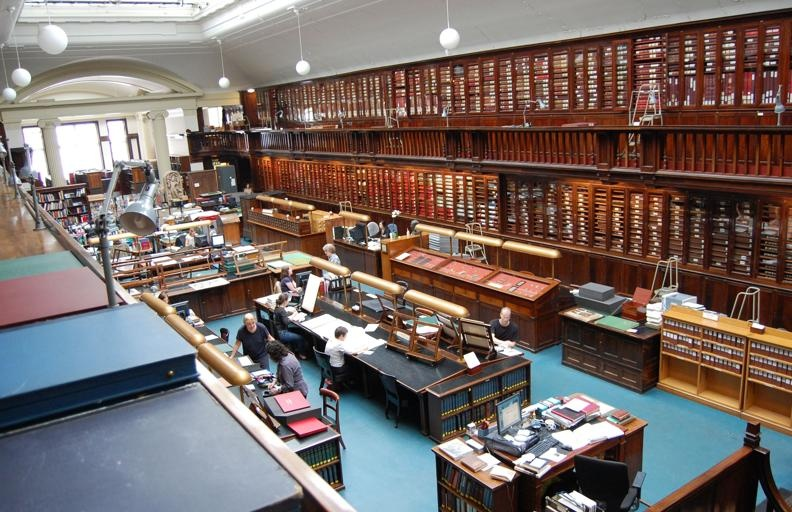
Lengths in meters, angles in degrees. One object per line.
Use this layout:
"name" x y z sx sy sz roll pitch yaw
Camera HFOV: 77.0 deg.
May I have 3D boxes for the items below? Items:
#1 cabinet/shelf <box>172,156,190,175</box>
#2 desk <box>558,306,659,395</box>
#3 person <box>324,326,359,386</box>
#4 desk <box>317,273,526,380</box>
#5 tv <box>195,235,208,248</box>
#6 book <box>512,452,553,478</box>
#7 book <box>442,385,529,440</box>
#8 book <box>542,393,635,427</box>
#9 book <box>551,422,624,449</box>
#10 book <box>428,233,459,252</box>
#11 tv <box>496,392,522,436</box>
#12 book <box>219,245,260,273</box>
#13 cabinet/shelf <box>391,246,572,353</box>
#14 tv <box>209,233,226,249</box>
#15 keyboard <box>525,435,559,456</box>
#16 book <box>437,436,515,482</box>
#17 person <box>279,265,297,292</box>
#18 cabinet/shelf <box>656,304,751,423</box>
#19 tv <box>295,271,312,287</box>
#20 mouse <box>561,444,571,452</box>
"cabinet/shelf" -10.316 -4.362 24.017 1.229 1.032 0.469 6 10 43
"desk" 4.123 1.737 9.425 0.984 1.077 1.725 -10 13 -27
"person" -0.952 1.856 9.155 0.668 1.167 0.476 -10 15 -27
"desk" 0.095 1.276 9.276 2.241 1.363 3.613 -4 13 -34
"tv" -5.611 -0.425 14.358 0.423 0.342 0.297 -2 -1 -12
"book" 1.604 2.466 5.864 0.327 0.081 0.326 -17 19 -37
"book" 1.200 2.255 7.109 1.007 0.347 0.195 -14 15 -36
"book" 2.676 2.165 6.937 0.576 0.129 0.585 -12 17 -36
"book" 2.405 2.248 6.254 0.557 0.089 0.329 -13 22 -34
"book" 1.251 -0.519 13.520 0.824 0.529 0.474 12 15 38
"tv" 1.447 2.068 6.421 0.465 0.424 0.150 -16 14 -37
"book" -4.147 0.116 13.254 0.628 0.500 0.806 4 16 19
"cabinet/shelf" 1.588 0.894 11.535 0.909 1.417 4.479 -12 18 -38
"tv" -4.985 -0.396 13.858 0.493 0.469 0.248 -3 5 -31
"keyboard" 1.810 2.337 6.123 0.442 0.030 0.193 -17 19 -37
"book" 0.985 2.501 6.110 0.402 0.115 1.004 -18 19 -39
"person" -2.609 0.552 11.990 0.434 0.725 0.317 -12 26 -18
"cabinet/shelf" 5.081 1.844 8.275 0.551 1.653 1.695 -10 13 -40
"tv" -2.186 0.563 11.730 0.348 0.318 0.181 2 11 -2
"mouse" 2.060 2.336 6.055 0.120 0.041 0.079 1 16 23
